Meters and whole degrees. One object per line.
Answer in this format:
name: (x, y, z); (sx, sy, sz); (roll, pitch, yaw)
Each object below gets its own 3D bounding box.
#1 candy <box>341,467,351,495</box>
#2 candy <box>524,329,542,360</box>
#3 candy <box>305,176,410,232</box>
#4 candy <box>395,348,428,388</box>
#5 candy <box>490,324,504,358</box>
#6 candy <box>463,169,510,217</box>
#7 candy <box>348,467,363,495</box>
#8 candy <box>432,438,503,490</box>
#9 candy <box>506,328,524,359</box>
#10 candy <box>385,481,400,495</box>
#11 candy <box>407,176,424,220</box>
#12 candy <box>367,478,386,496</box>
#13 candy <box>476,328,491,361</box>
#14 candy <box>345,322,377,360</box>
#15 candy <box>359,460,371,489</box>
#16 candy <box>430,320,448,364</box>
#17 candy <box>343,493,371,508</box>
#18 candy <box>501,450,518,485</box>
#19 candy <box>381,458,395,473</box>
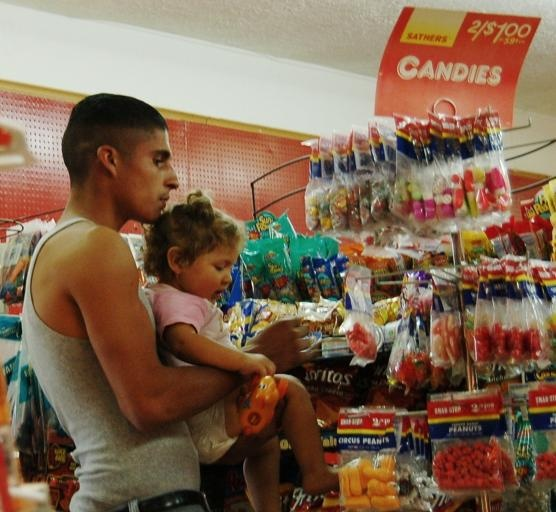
candy: (0.175, 0.583, 1.444); (0.021, 0.078, 0.050); (2, -10, -18)
candy: (0.643, 0.224, 1.423); (0.028, 0.076, 0.029); (9, -16, -33)
candy: (0.197, -0.146, 1.649); (0.203, 0.178, 0.071); (4, 7, 37)
candy: (0.393, 0.332, 1.671); (0.090, 0.118, 0.073); (-1, 4, -12)
candy: (0.572, 0.220, 1.456); (0.025, 0.095, 0.029); (3, -8, -39)
candy: (0.541, -0.170, 1.454); (0.106, 0.127, 0.037); (-3, -6, -4)
candy: (0.195, 0.573, 1.436); (0.024, 0.071, 0.019); (-5, -10, 10)
candy: (0.476, 0.523, 1.398); (0.117, 0.057, 0.134); (-3, 1, 14)
candy: (0.606, 0.220, 1.442); (0.031, 0.086, 0.033); (1, -5, -31)
candy: (0.290, 0.583, 1.413); (0.044, 0.035, 0.014); (1, -7, -32)
candy: (0.365, -0.151, 1.494); (0.028, 0.132, 0.029); (1, -10, -11)
candy: (0.246, 0.586, 1.412); (0.036, 0.023, 0.037); (29, -35, -20)
candy: (0.534, 0.234, 1.462); (0.027, 0.079, 0.069); (-5, 0, 1)
candy: (0.230, 0.236, 1.544); (0.037, 0.112, 0.073); (-26, 33, -33)
candy: (0.219, 0.560, 1.429); (0.015, 0.056, 0.036); (5, -3, 6)
candy: (0.446, 0.238, 1.546); (0.018, 0.107, 0.058); (8, -12, -18)
candy: (0.202, 0.624, 1.426); (0.054, 0.036, 0.020); (-3, -2, 10)
candy: (0.573, 0.530, 1.400); (0.044, 0.093, 0.017); (0, -7, -25)
candy: (0.279, 0.531, 1.422); (0.026, 0.031, 0.027); (13, -20, -37)
